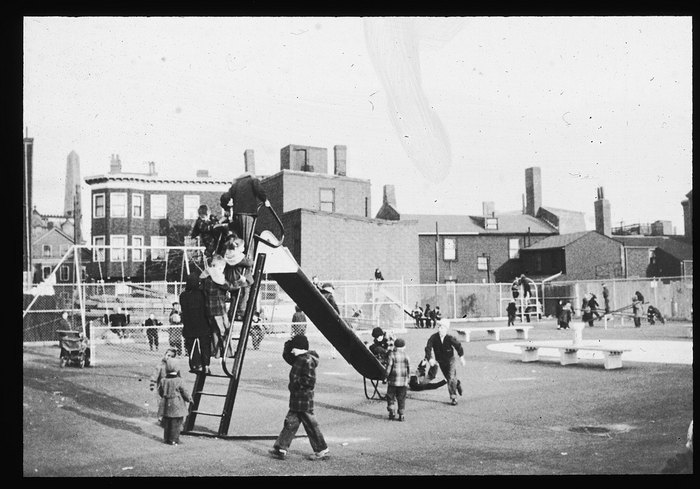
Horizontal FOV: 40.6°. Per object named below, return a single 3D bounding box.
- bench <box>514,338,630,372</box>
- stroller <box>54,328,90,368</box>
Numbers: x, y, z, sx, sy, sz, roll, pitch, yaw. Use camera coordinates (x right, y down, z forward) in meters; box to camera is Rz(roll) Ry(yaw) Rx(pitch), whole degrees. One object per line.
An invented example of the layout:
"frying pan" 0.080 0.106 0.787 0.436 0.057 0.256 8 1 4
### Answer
"bench" 4.798 2.359 20.381 2.252 0.541 1.158 -2 -4 24
"stroller" -6.150 2.273 20.621 0.525 0.499 0.948 7 -12 -39
